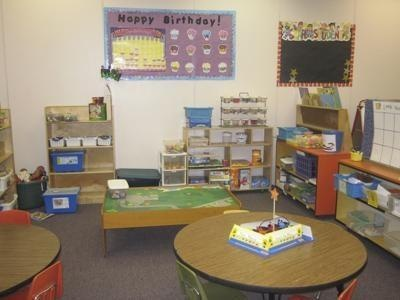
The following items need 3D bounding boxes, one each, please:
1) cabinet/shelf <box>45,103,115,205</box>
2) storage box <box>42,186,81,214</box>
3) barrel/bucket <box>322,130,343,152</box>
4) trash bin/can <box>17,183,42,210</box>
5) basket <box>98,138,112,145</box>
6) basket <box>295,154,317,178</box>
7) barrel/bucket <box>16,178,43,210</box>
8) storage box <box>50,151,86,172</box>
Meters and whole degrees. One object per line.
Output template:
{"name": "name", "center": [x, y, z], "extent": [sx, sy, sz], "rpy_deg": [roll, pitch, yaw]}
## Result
{"name": "cabinet/shelf", "center": [-1.995, 0.007, 6.521], "extent": [1.220, 1.956, 0.494], "rpy_deg": [5, 27, 43]}
{"name": "storage box", "center": [-2.339, 0.811, 5.611], "extent": [0.445, 0.283, 0.457], "rpy_deg": [0, 6, 1]}
{"name": "barrel/bucket", "center": [2.174, -0.146, 5.437], "extent": [0.299, 0.331, 0.335], "rpy_deg": [-1, -1, -27]}
{"name": "trash bin/can", "center": [-2.944, 0.777, 5.695], "extent": [0.430, 0.451, 0.234], "rpy_deg": [-3, 5, -36]}
{"name": "basket", "center": [-1.720, -0.140, 5.971], "extent": [0.180, 0.116, 0.135], "rpy_deg": [0, -1, -7]}
{"name": "basket", "center": [1.991, 0.266, 5.880], "extent": [0.320, 0.416, 0.590], "rpy_deg": [5, -3, 38]}
{"name": "barrel/bucket", "center": [-2.946, 0.747, 5.698], "extent": [0.501, 0.489, 0.278], "rpy_deg": [-4, 6, -40]}
{"name": "storage box", "center": [-2.362, 0.180, 6.016], "extent": [0.613, 0.379, 0.457], "rpy_deg": [0, 16, -6]}
